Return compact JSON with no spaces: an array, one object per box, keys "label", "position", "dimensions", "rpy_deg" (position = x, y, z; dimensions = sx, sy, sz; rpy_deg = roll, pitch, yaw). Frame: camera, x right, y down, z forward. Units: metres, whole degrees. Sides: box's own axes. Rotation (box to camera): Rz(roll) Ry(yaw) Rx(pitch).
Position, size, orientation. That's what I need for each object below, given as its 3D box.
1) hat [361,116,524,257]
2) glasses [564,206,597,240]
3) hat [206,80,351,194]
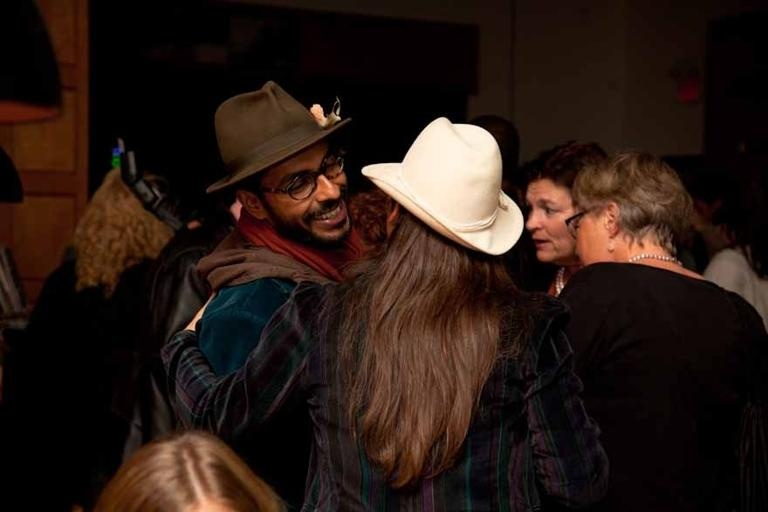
[{"label":"hat","position":[0.250,-0.314,2.926],"dimensions":[0.609,0.374,0.663],"rpy_deg":[-16,38,-43]},{"label":"glasses","position":[0.877,-0.147,3.424],"dimensions":[0.107,0.034,0.112],"rpy_deg":[-25,-12,17]},{"label":"hat","position":[-0.491,-0.513,3.297],"dimensions":[0.505,0.208,0.464],"rpy_deg":[-26,10,24]}]
